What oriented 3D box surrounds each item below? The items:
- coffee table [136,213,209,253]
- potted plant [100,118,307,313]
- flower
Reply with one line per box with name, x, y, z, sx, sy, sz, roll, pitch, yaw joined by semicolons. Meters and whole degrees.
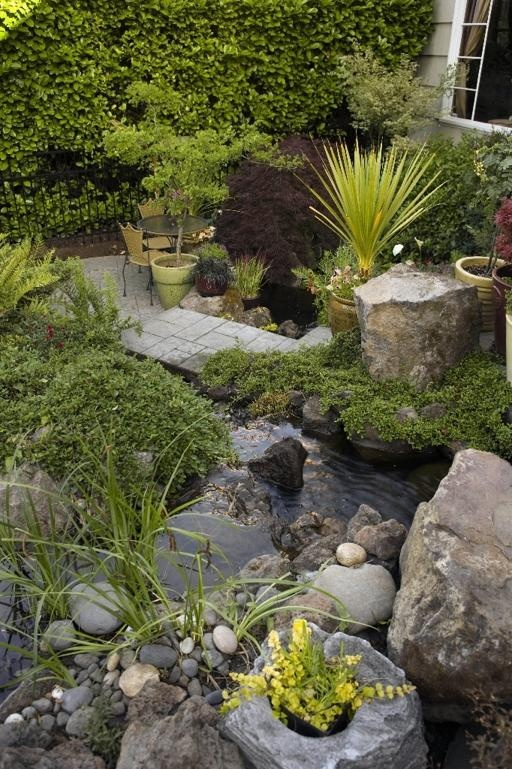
coffee table;-0.990;-1.828;6.533;0.629;0.402;0.636;11;32;17
potted plant;-0.836;-2.416;7.472;2.551;2.159;2.408;-11;42;-28
flower;0.215;1.038;2.048;0.583;0.312;0.330;6;-10;1
